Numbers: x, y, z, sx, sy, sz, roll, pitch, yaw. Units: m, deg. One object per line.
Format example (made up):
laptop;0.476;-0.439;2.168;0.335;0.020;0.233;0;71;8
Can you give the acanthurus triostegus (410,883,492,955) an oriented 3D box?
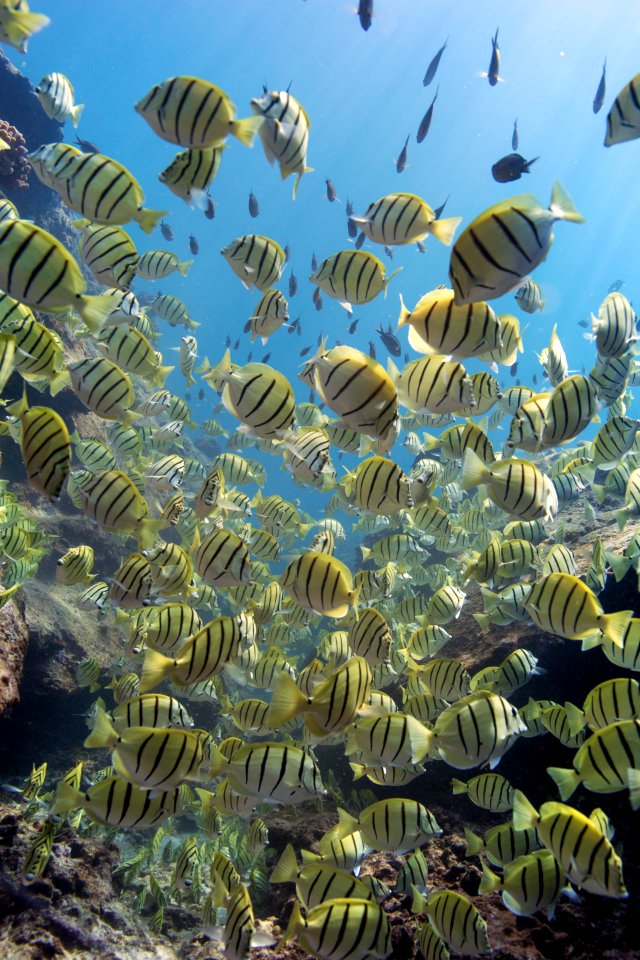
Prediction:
acanthurus triostegus;0.814;2.733;4.586;0.479;0.293;0.246;-8;-41;36
